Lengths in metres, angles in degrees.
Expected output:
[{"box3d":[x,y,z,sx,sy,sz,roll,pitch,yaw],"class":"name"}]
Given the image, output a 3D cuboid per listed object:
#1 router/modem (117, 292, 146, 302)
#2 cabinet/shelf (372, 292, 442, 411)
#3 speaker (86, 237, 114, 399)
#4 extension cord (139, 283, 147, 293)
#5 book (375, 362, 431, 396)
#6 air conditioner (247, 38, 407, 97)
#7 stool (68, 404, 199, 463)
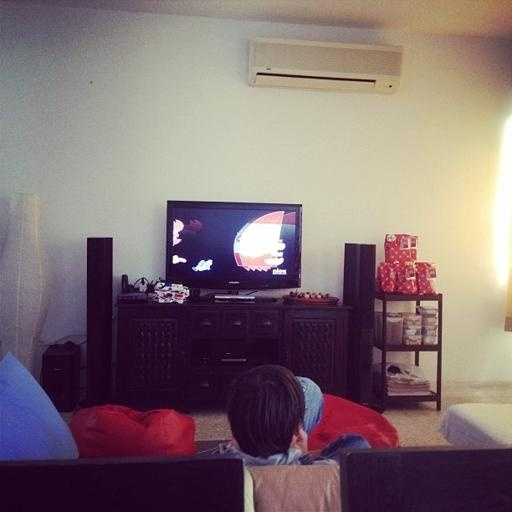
[{"box3d":[-0.731,0.248,3.189,0.170,0.049,0.126,3,2,-4],"class":"router/modem"},{"box3d":[0.994,0.604,3.507,0.481,0.569,0.576,3,2,4],"class":"cabinet/shelf"},{"box3d":[-0.900,0.377,3.130,0.171,0.960,0.198,1,2,-37],"class":"speaker"},{"box3d":[-0.707,0.198,3.339,0.046,0.048,0.078,3,2,-8],"class":"extension cord"},{"box3d":[0.934,0.792,3.389,0.246,0.093,0.202,1,-1,-2],"class":"book"},{"box3d":[0.449,-1.270,3.514,0.990,0.351,0.309,3,32,0],"class":"air conditioner"},{"box3d":[-0.345,0.493,1.484,0.359,0.109,0.278,3,2,-8],"class":"stool"}]
